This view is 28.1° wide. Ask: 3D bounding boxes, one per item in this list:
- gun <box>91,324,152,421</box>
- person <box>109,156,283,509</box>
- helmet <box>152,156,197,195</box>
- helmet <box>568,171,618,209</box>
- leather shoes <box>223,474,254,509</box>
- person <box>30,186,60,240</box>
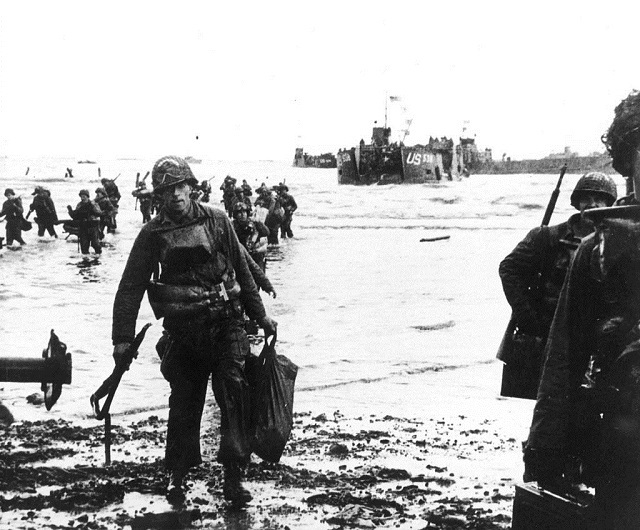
[{"bbox_3d":[-1.827,1.022,11.789,0.277,0.983,0.112,32,-8,18],"label":"gun"},{"bbox_3d":[-0.949,0.463,9.666,1.130,2.509,0.687,1,6,0],"label":"person"},{"bbox_3d":[-1.104,-0.676,9.715,0.346,0.272,0.260,-1,7,-11],"label":"helmet"},{"bbox_3d":[2.153,-0.596,9.910,0.239,0.293,0.324,9,10,9],"label":"helmet"},{"bbox_3d":[-0.630,1.662,9.498,0.239,0.235,0.199,2,7,13],"label":"leather shoes"},{"bbox_3d":[-6.633,-1.214,30.584,0.668,1.363,3.441,-1,7,-12],"label":"person"}]
